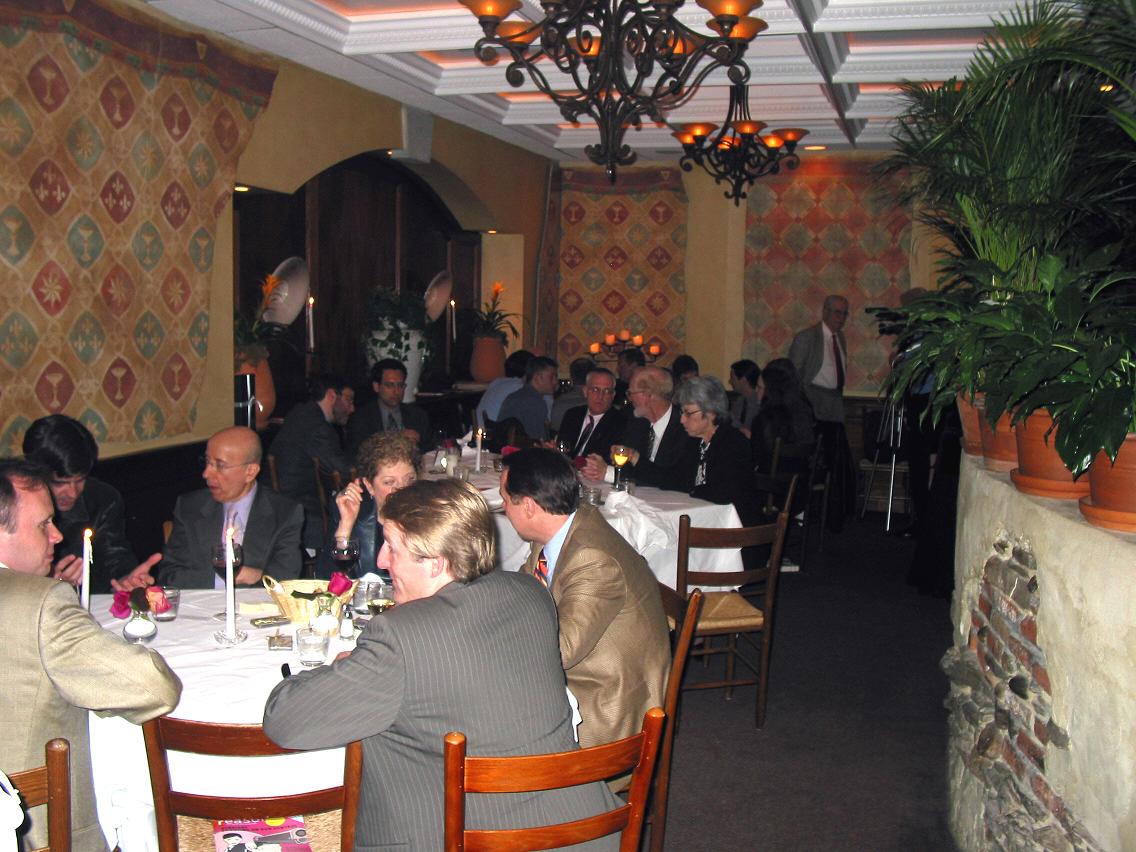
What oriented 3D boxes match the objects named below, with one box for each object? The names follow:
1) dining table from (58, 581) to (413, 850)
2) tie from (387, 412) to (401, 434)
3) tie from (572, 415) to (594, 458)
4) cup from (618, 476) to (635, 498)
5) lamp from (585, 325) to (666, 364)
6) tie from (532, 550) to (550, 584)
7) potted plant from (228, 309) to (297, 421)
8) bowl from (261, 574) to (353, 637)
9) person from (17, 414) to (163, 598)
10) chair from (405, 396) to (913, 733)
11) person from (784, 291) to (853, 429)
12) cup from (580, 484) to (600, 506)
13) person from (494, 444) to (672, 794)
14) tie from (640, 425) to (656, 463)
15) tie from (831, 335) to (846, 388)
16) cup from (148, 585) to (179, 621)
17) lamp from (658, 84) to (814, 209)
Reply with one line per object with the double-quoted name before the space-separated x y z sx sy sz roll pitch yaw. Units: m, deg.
"dining table" -0.803 0.813 2.776 0.587 1.082 0.707 1 16 -4
"tie" -1.141 -0.034 6.148 0.101 0.150 0.040 7 -32 -45
"tie" 0.099 0.066 6.163 0.035 0.278 0.037 15 1 18
"cup" 0.300 0.323 5.036 0.081 0.067 0.084 0 -2 0
"lamp" 0.607 -0.910 10.080 0.575 0.289 0.604 -2 11 8
"tie" -0.095 0.483 3.247 0.026 0.095 0.090 -4 -11 27
"potted plant" -2.004 -0.387 6.172 0.551 0.794 0.547 -4 5 -30
"bowl" -0.807 0.543 2.910 0.183 0.104 0.180 7 -8 1
"person" -1.933 0.363 3.698 0.732 0.651 0.409 19 20 35
"chair" 0.331 0.479 3.866 1.017 1.626 0.946 -6 9 -23
"person" 2.453 -0.345 9.008 0.646 1.920 0.476 -7 23 2
"cup" 0.103 0.352 4.790 0.088 0.090 0.122 -2 -11 21
"person" 0.000 0.769 3.136 0.640 1.400 0.602 2 14 5
"tie" 0.488 0.103 5.905 0.173 0.191 0.056 3 -8 -4
"tie" 2.528 -0.601 8.819 0.095 0.441 0.297 -5 6 3
"cup" -1.329 0.585 3.076 0.086 0.094 0.104 3 -8 -4
"lamp" 1.169 -2.030 6.863 1.077 1.004 1.077 -6 10 -40
